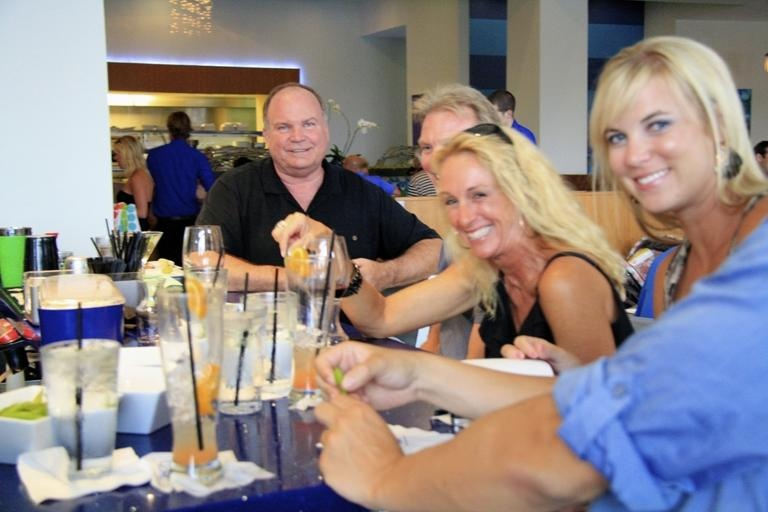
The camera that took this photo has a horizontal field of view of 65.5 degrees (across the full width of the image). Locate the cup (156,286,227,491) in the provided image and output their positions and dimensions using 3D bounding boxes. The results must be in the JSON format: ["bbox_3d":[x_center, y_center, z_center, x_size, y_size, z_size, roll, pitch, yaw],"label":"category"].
[{"bbox_3d":[-0.318,0.215,1.000,0.095,0.321,0.097,-1,11,0],"label":"cup"}]

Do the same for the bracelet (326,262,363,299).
[{"bbox_3d":[-0.121,0.078,1.851,0.103,0.097,0.105,1,-9,1],"label":"bracelet"}]

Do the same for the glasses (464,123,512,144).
[{"bbox_3d":[0.337,-0.402,1.933,0.117,0.099,0.079,-7,12,-15],"label":"glasses"}]

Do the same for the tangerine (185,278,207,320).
[{"bbox_3d":[-0.316,0.072,0.997,0.032,0.063,0.040,-5,11,-18],"label":"tangerine"}]

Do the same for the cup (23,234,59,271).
[{"bbox_3d":[-1.227,-0.010,2.116,0.109,0.123,0.095,-7,12,-31],"label":"cup"}]

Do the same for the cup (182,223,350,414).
[{"bbox_3d":[-0.396,0.164,1.490,0.354,0.501,0.342,0,-8,0],"label":"cup"}]

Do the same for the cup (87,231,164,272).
[{"bbox_3d":[-0.939,-0.013,2.133,0.224,0.090,0.209,-1,0,0],"label":"cup"}]

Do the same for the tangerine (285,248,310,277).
[{"bbox_3d":[-0.203,0.018,1.394,0.037,0.061,0.068,8,-19,-34],"label":"tangerine"}]
